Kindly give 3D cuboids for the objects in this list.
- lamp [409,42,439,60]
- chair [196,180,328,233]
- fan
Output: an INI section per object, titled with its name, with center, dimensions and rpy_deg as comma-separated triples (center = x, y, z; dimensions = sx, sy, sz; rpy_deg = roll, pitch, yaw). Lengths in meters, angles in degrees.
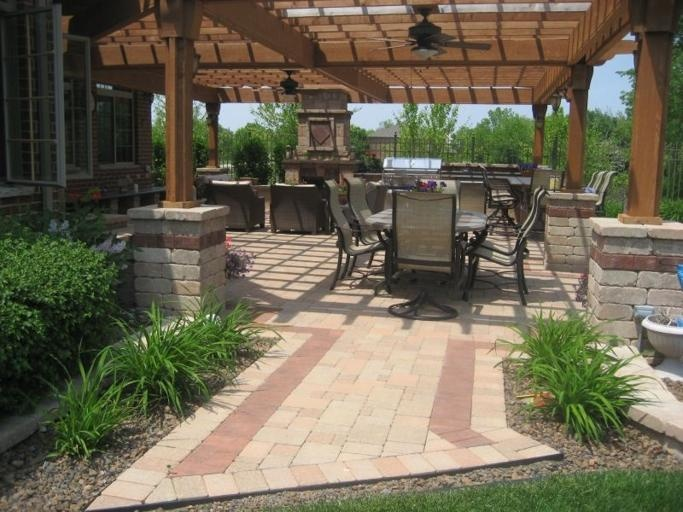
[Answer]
[lamp]
center = 1.146, -2.838, 6.679
dimensions = 0.383, 0.161, 0.333
rpy_deg = 2, 11, 9
[chair]
center = -1.513, -1.042, 10.410
dimensions = 2.326, 1.088, 1.579
rpy_deg = 3, 11, 13
[fan]
center = 1.345, -3.389, 7.346
dimensions = 1.086, 0.415, 1.090
rpy_deg = 0, 3, -14
